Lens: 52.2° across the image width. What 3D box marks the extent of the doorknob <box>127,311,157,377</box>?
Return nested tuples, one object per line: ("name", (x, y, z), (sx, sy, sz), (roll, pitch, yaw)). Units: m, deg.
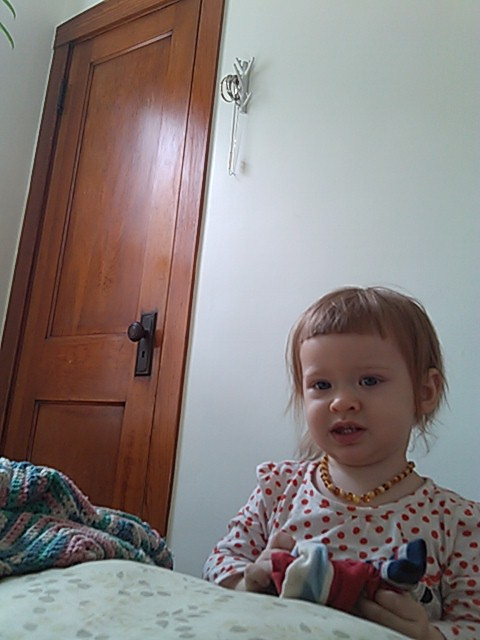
("doorknob", (-0.305, 0.068, 1.543), (0.090, 0.206, 0.065), (3, 4, 27))
